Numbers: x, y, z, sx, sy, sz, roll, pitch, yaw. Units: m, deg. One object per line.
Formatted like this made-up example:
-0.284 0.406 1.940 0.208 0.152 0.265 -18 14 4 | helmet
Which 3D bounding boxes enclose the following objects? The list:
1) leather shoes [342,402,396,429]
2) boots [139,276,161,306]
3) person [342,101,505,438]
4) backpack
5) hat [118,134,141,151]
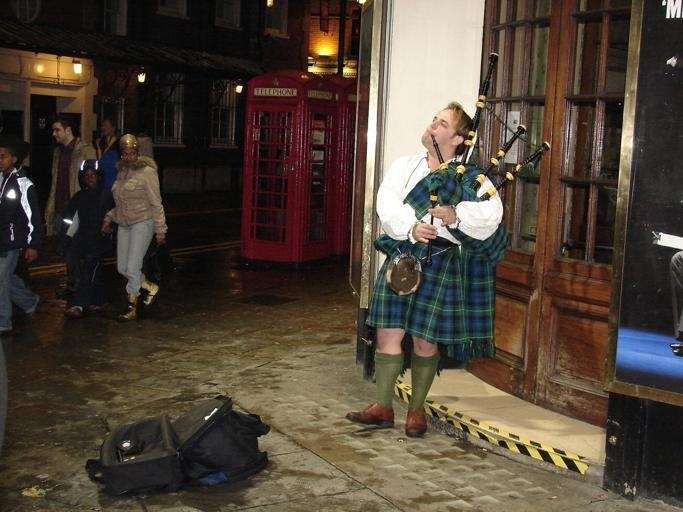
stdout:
0.194 1.124 4.291 0.361 0.166 0.131 6 -2 5 | leather shoes
-2.451 0.451 7.689 0.272 0.351 0.143 9 9 -24 | boots
0.594 0.106 4.066 0.947 2.248 0.568 3 11 13 | person
-0.941 1.122 3.554 0.799 0.287 0.533 0 5 -20 | backpack
-2.453 -1.298 6.931 0.204 0.153 0.194 3 29 -11 | hat
